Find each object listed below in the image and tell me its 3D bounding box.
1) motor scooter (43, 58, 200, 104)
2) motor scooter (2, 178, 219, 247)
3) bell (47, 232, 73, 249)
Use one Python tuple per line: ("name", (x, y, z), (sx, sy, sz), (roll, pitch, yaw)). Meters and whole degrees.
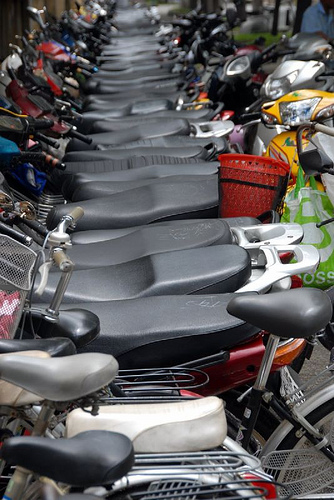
("motor scooter", (-0.563, -2.596, 6.341), (2.092, 1.159, 0.967), (2, 55, 6))
("motor scooter", (-0.242, -0.285, 2.250), (1.082, 0.580, 0.460), (-2, 59, 0))
("bell", (-0.258, -0.026, 0.960), (0.044, 0.021, 0.044), (11, 8, 12))
